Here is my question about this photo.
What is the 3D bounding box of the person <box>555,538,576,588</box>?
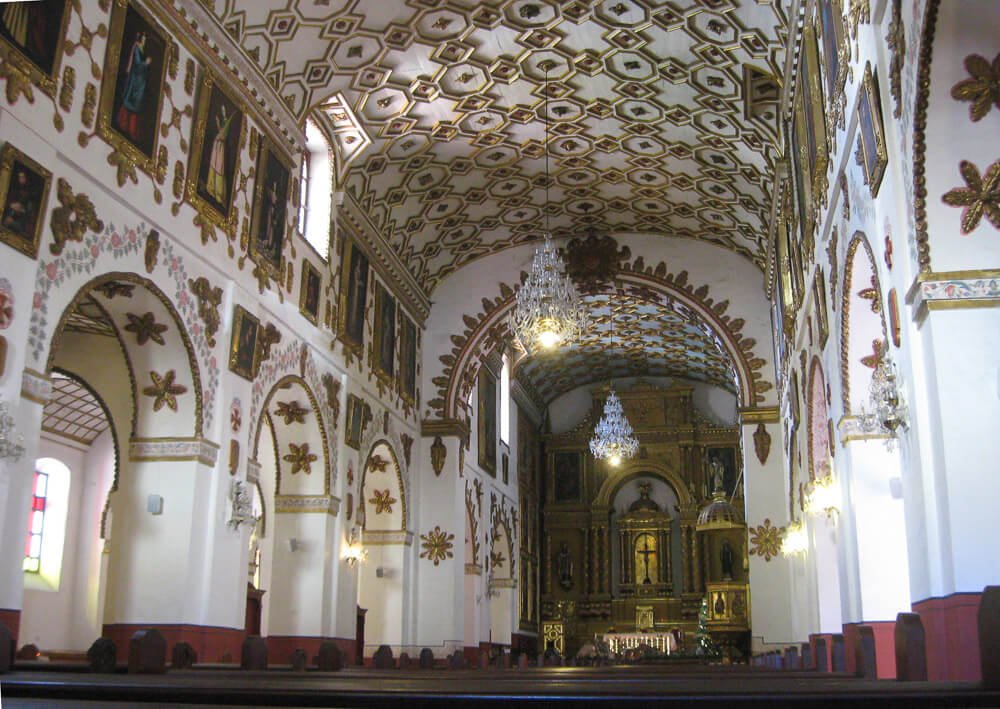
[{"bbox_3d":[2.513,8.201,32.975,0.718,1.774,0.216,-3,-18,5],"label":"person"}]

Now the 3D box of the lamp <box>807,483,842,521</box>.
[{"bbox_3d":[4.844,2.202,12.717,0.556,0.672,0.596,-3,-11,16],"label":"lamp"}]

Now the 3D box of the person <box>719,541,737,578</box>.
[{"bbox_3d":[8.415,7.633,31.413,0.547,1.220,0.298,-5,-19,11],"label":"person"}]

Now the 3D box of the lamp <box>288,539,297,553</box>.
[{"bbox_3d":[-3.760,3.524,15.709,0.148,0.220,0.105,4,-19,-15],"label":"lamp"}]

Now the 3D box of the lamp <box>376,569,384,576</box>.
[{"bbox_3d":[-2.744,5.080,19.765,0.180,0.198,0.137,1,2,5],"label":"lamp"}]

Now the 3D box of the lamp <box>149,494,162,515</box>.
[{"bbox_3d":[-4.768,2.112,11.870,0.213,0.283,0.134,-8,-20,18],"label":"lamp"}]

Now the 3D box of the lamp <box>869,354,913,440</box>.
[{"bbox_3d":[4.021,0.403,8.856,0.225,0.946,0.688,-7,-20,16],"label":"lamp"}]

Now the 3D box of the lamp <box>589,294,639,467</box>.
[{"bbox_3d":[3.726,2.340,28.345,1.422,2.887,1.606,-3,-19,3],"label":"lamp"}]
